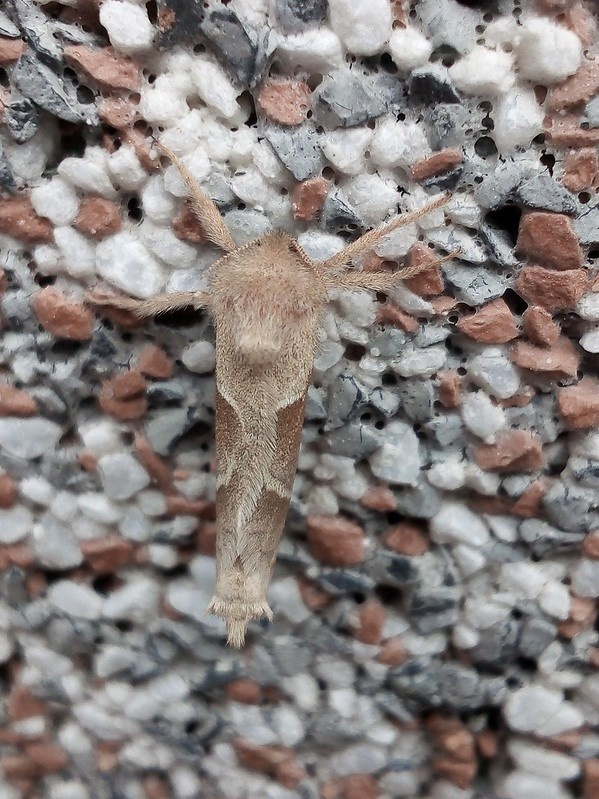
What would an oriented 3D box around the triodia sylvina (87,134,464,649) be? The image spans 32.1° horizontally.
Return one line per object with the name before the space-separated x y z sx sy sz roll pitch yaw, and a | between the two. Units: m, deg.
triodia sylvina | -0.128 -0.019 1.430 0.439 0.173 0.670 23 81 1
